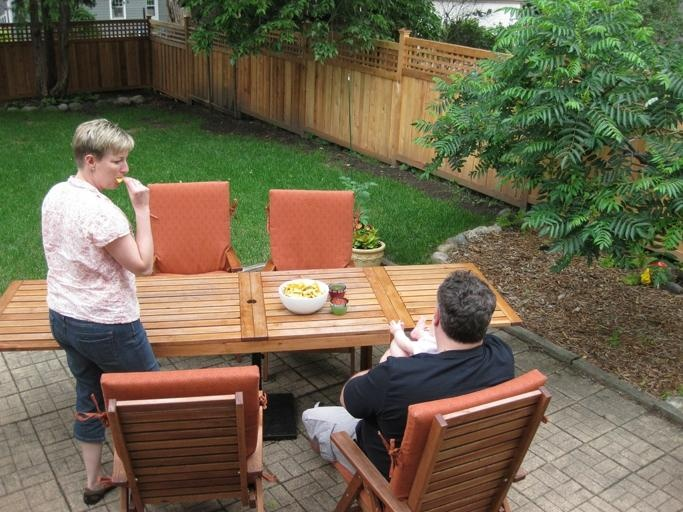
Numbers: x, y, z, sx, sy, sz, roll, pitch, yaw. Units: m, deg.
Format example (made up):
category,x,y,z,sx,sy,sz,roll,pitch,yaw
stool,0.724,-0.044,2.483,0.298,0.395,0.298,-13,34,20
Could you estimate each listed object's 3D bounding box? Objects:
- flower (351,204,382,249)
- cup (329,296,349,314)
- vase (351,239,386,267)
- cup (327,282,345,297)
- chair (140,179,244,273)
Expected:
category,x,y,z,sx,sy,sz,roll,pitch,yaw
flower,0.291,-0.366,6.617,0.468,0.458,0.445,-4,19,17
cup,-0.023,0.349,4.052,0.121,0.080,0.117,0,8,0
vase,0.317,-0.018,6.477,0.326,0.216,0.321,10,16,26
cup,-0.033,0.241,4.063,0.098,0.064,0.096,2,9,0
chair,-1.354,-0.325,5.535,0.759,1.011,0.960,-3,10,-8
